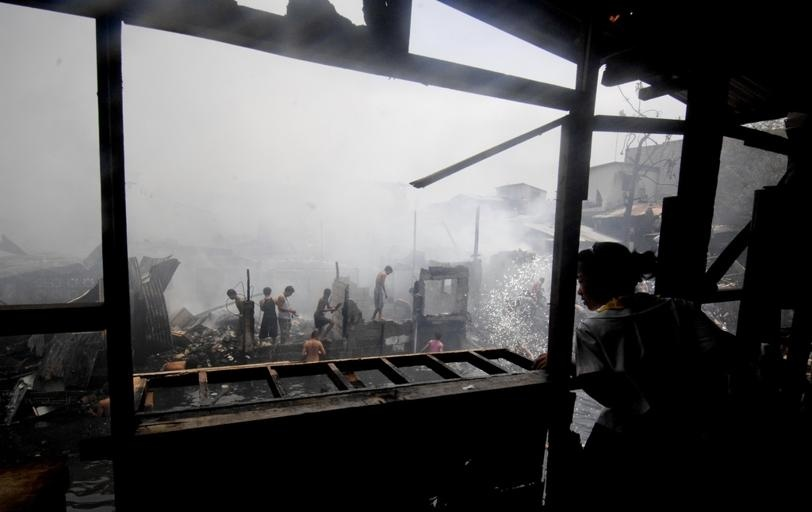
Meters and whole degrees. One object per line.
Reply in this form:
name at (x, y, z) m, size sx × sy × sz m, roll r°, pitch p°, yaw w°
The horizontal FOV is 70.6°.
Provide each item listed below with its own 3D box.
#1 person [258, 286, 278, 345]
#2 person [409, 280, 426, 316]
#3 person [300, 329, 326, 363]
person at (-3.840, 1.624, 15.970) m, size 0.492 × 1.531 × 1.083 m, roll -1°, pitch 1°, yaw -13°
person at (0.366, 1.395, 18.770) m, size 0.418 × 1.198 × 0.615 m, roll -1°, pitch 1°, yaw -5°
person at (-2.363, 2.274, 14.570) m, size 0.545 × 0.807 × 0.910 m, roll -1°, pitch 1°, yaw -9°
